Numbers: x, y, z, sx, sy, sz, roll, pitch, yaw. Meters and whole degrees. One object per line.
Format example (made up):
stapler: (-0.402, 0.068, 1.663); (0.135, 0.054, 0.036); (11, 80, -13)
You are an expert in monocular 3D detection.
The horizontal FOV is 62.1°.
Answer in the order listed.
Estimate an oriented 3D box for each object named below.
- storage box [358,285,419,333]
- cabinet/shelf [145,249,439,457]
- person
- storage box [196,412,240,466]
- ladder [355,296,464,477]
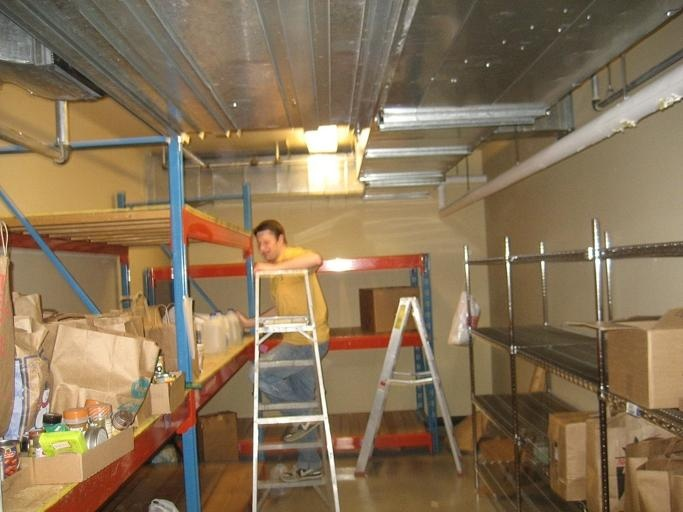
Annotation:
storage box: (0.389, 0.466, 5.268); (0.422, 0.381, 0.441); (0, -1, 25)
cabinet/shelf: (-0.314, 0.810, 4.416); (1.755, 1.632, 0.556); (-1, 0, 1)
person: (-0.472, 0.706, 4.128); (0.796, 1.939, 0.818); (0, 3, 18)
storage box: (-1.069, 1.581, 5.090); (0.444, 0.647, 0.340); (0, -6, -10)
ladder: (0.550, 1.067, 4.810); (0.877, 1.465, 1.331); (-2, -6, 12)
